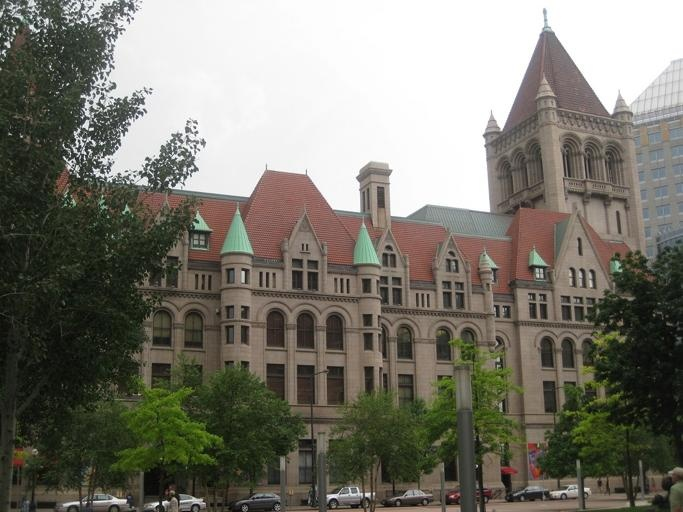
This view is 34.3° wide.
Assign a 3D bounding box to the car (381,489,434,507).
[{"bbox_3d":[5.740,20.553,93.879,3.676,1.281,1.626,7,-18,-15],"label":"car"}]
